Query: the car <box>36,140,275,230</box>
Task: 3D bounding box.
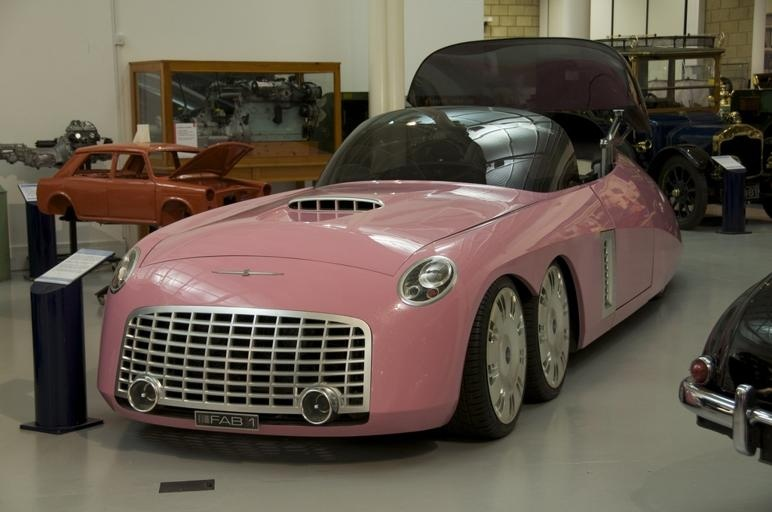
[{"bbox_3d":[-2.360,-0.688,6.403,1.987,0.793,1.114,2,5,23],"label":"car"}]
